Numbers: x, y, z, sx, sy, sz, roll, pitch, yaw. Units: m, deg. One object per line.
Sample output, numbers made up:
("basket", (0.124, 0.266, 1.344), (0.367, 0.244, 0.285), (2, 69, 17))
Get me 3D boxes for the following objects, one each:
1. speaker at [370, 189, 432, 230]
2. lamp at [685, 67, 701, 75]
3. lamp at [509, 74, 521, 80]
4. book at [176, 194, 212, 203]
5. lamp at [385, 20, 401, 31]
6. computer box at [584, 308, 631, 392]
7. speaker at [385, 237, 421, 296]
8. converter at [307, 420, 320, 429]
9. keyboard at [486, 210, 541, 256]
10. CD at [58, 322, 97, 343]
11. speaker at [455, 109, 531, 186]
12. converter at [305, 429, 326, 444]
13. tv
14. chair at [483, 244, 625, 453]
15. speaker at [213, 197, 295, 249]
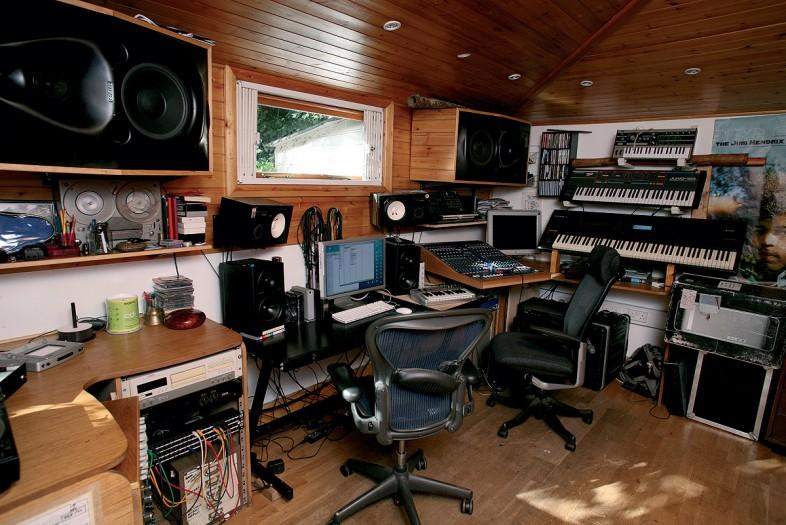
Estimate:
("speaker", (0.071, -0.473, 4.701), (0.527, 0.287, 0.157), (-8, 13, -26))
("lamp", (2.227, -1.427, 4.029), (0.111, 0.046, 0.135), (4, 13, 26))
("lamp", (0.995, -1.529, 4.449), (0.099, 0.033, 0.127), (1, 11, 13))
("book", (-1.311, -0.424, 3.586), (0.193, 0.050, 0.068), (-11, 15, -39))
("lamp", (-0.006, -1.570, 3.586), (0.118, 0.045, 0.123), (-3, 11, -4))
("computer box", (1.889, 0.725, 5.062), (0.401, 0.611, 0.726), (13, 22, 38))
("speaker", (0.075, 0.026, 4.599), (0.267, 0.400, 0.303), (-3, 13, -15))
("converter", (-0.617, 1.260, 4.224), (0.051, 0.013, 0.056), (16, 22, 33))
("keyboard", (1.158, -0.293, 5.306), (0.506, 0.386, 0.156), (1, -1, -16))
("CD", (-1.889, 0.395, 3.272), (0.142, 0.049, 0.133), (3, 12, -3))
("speaker", (0.772, -1.077, 5.190), (1.087, 0.625, 0.584), (-4, 9, -38))
("converter", (-0.581, 1.297, 4.067), (0.131, 0.038, 0.068), (-12, 27, -29))
("tv", (-0.343, 0.034, 4.223), (0.566, 0.342, 0.073), (-8, 14, -44))
("chair", (1.283, 0.459, 5.039), (1.547, 2.051, 1.515), (2, 10, 8))
("speaker", (-0.991, -0.324, 3.871), (0.407, 0.341, 0.498), (15, 15, 22))
